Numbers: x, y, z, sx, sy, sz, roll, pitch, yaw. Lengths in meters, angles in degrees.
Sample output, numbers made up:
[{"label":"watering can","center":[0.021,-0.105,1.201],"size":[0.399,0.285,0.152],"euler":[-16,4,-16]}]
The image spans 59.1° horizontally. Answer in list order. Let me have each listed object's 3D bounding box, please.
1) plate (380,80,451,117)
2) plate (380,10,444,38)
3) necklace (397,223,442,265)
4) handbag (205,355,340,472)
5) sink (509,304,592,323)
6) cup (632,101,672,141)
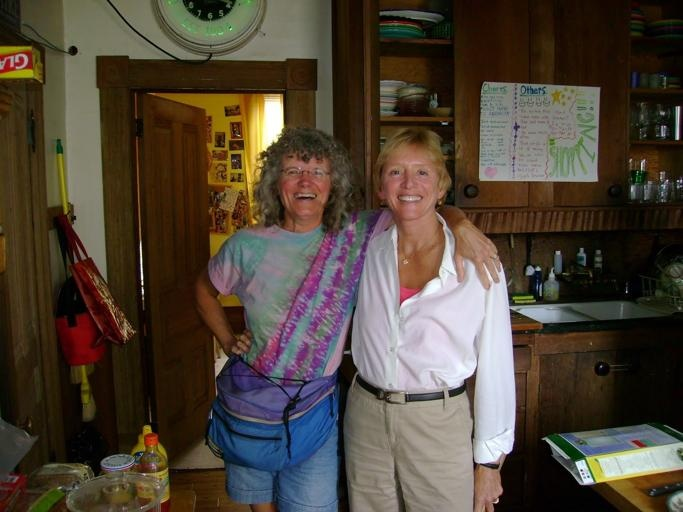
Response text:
[{"label":"plate","center":[0.410,-0.924,3.546],"size":[0.322,0.180,0.445],"euler":[1,-1,3]},{"label":"plate","center":[0.405,-1.332,3.491],"size":[0.420,0.182,0.120],"euler":[-3,6,-31]},{"label":"necklace","center":[0.301,-0.046,2.325],"size":[0.085,0.160,0.127],"euler":[8,-11,-27]},{"label":"handbag","center":[-0.291,0.642,2.342],"size":[0.381,0.241,0.492],"euler":[2,11,6]},{"label":"sink","center":[1.324,0.365,3.759],"size":[0.282,0.114,0.228],"euler":[1,3,-20]},{"label":"cup","center":[1.950,-0.827,3.795],"size":[0.236,0.267,0.247],"euler":[-2,8,0]}]
